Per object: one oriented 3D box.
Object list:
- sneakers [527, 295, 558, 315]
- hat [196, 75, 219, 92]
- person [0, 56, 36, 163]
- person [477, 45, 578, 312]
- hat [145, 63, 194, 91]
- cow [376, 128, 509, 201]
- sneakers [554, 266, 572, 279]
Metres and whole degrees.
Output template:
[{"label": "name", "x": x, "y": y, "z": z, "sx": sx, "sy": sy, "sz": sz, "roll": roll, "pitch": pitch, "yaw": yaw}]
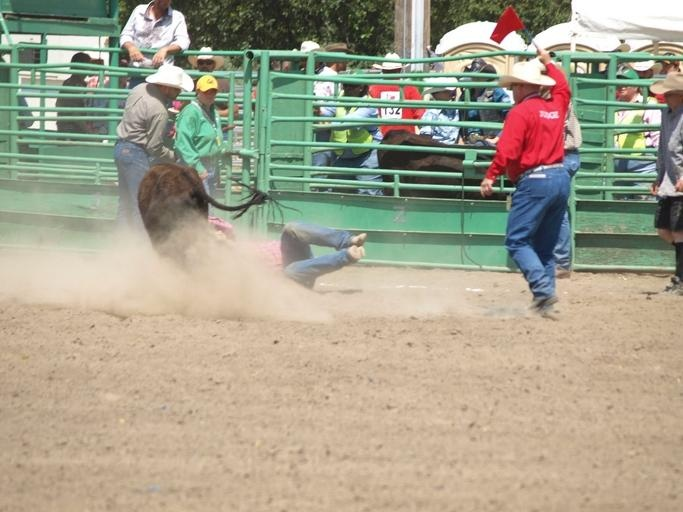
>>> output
[{"label": "sneakers", "x": 1.950, "y": 0.437, "z": 10.143, "sx": 0.247, "sy": 0.175, "sz": 0.321, "roll": 3, "pitch": 9, "yaw": 9}, {"label": "hat", "x": -1.501, "y": -1.922, "z": 12.042, "sx": 0.194, "sy": 0.122, "sz": 0.234, "roll": 0, "pitch": 0, "yaw": -20}, {"label": "person", "x": -4.047, "y": -1.848, "z": 13.444, "sx": 0.425, "sy": 1.358, "sz": 1.692, "roll": -1, "pitch": 9, "yaw": -16}, {"label": "person", "x": 1.813, "y": -0.732, "z": 10.243, "sx": 0.794, "sy": 2.442, "sz": 0.786, "roll": 5, "pitch": 10, "yaw": 17}, {"label": "hat", "x": -1.804, "y": -1.879, "z": 11.379, "sx": 0.431, "sy": 0.137, "sz": 0.362, "roll": 15, "pitch": 23, "yaw": -8}, {"label": "cow", "x": 1.254, "y": -1.110, "z": 12.196, "sx": 1.887, "sy": 0.840, "sz": 0.535, "roll": 6, "pitch": 39, "yaw": 5}, {"label": "sneakers", "x": 2.474, "y": 0.184, "z": 11.770, "sx": 0.167, "sy": 0.128, "sz": 0.117, "roll": -1, "pitch": 4, "yaw": -4}]
